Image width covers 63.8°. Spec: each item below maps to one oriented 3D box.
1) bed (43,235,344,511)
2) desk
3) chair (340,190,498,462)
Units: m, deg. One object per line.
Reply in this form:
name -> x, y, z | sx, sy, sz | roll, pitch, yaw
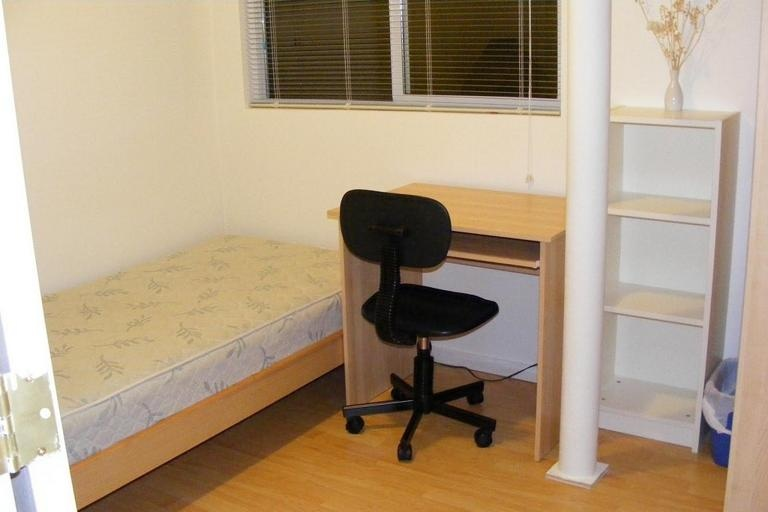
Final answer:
bed -> -1.045, 0.459, 3.134 | 1.313, 0.520, 1.746 | 9, 19, 23
desk -> 0.317, 0.343, 3.047 | 1.123, 0.990, 0.749 | 10, 25, 28
chair -> 0.184, 0.297, 2.938 | 0.767, 1.239, 0.544 | 0, 18, -5
